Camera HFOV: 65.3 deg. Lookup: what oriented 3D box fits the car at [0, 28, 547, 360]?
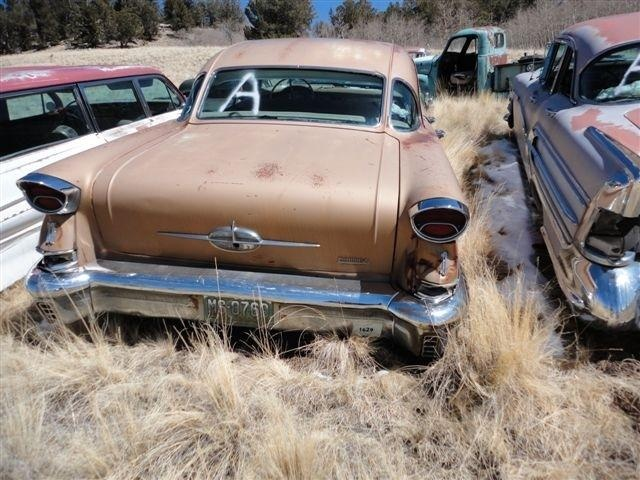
[{"bbox_3d":[-0.352,-0.438,3.555,2.519,1.362,2.110,0,32,7],"label":"car"}]
